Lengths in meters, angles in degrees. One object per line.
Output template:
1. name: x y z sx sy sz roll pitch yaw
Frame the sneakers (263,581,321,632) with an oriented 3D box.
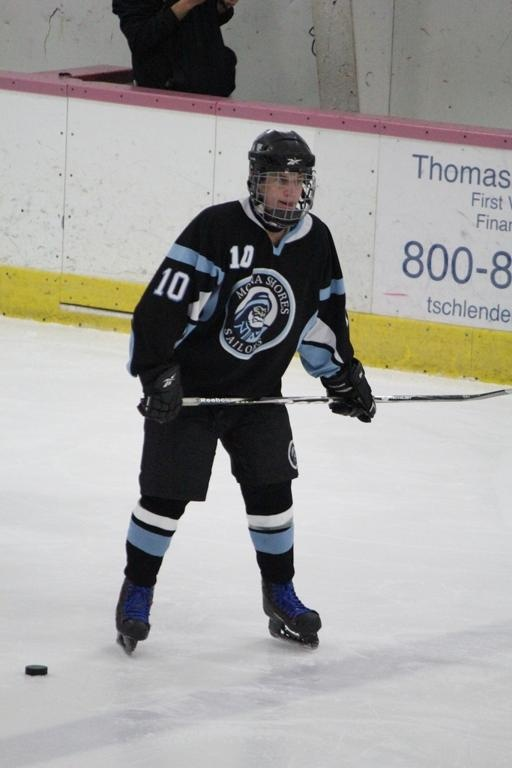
1. sneakers: 0.077 0.517 2.197 0.059 0.109 0.176 -4 8 -35

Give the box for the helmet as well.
1. helmet: 0.060 -0.465 2.095 0.159 0.193 0.210 4 13 0
